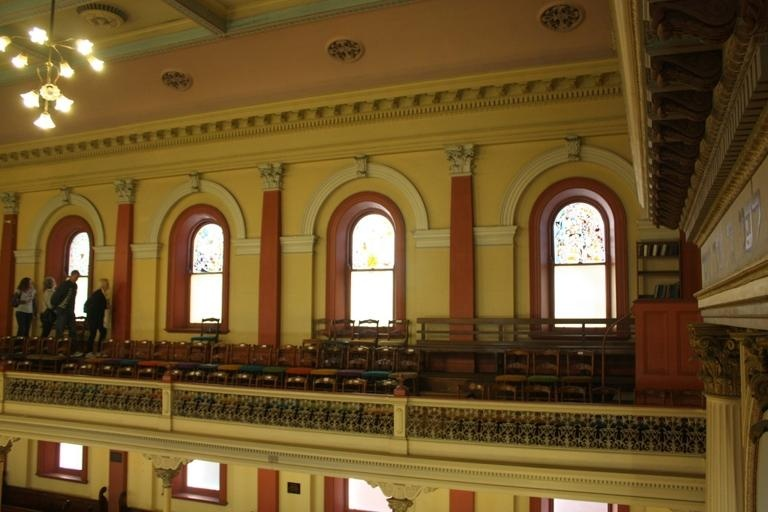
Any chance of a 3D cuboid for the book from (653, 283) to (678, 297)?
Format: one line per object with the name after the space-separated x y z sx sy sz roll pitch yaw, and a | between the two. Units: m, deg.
5.673 0.713 12.858 0.443 0.321 0.261 1 -15 30 | book
